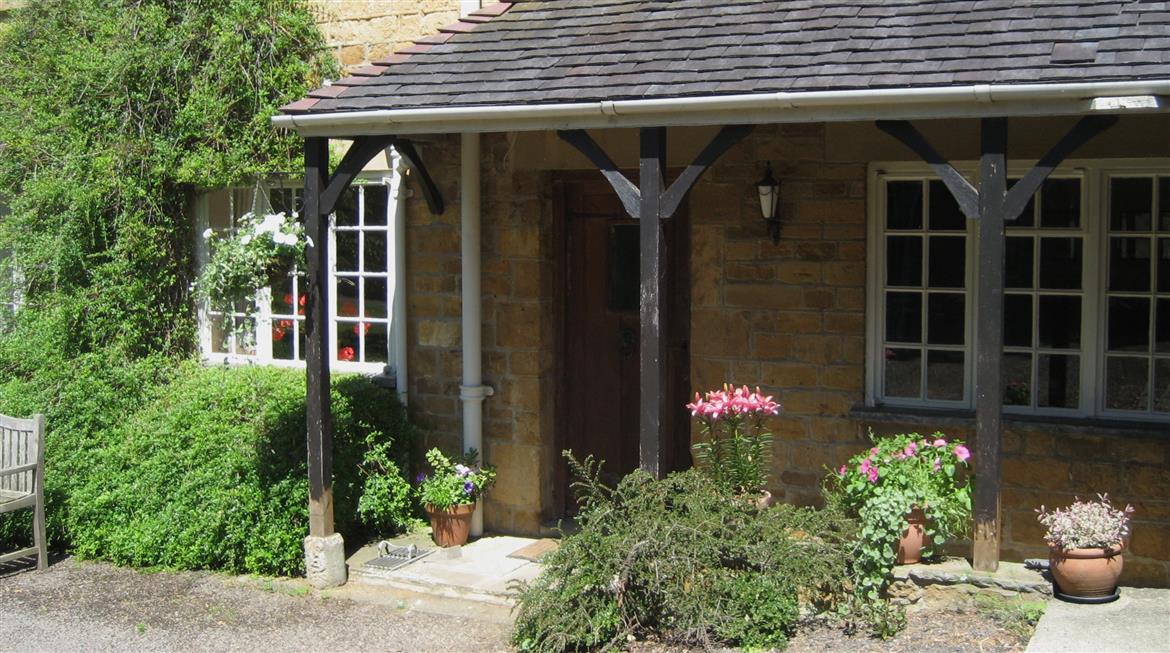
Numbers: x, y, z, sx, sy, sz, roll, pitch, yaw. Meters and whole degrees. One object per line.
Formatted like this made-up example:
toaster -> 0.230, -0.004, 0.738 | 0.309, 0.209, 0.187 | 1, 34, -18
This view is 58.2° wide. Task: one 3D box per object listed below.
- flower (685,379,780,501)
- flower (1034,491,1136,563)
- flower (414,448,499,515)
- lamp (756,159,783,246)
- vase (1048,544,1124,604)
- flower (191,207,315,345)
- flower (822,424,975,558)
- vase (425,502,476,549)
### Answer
flower -> 1.424, 1.137, 10.032 | 0.685, 1.009, 0.852 | -7, -4, 6
flower -> 4.520, 1.843, 9.325 | 0.543, 0.319, 0.640 | -16, -3, 35
flower -> -1.361, 1.634, 11.289 | 0.797, 0.629, 0.368 | 1, -2, -9
lamp -> 1.879, -1.289, 10.694 | 0.243, 0.802, 0.193 | 0, -3, 8
vase -> 4.408, 2.153, 9.268 | 0.513, 0.350, 0.508 | 3, -4, 0
flower -> -3.952, -0.644, 12.352 | 1.723, 1.501, 0.710 | -1, -3, 36
flower -> 3.090, 1.457, 9.803 | 1.067, 0.882, 0.965 | 17, -7, -21
vase -> -1.432, 2.091, 11.148 | 0.457, 0.344, 0.459 | 0, -4, 8
